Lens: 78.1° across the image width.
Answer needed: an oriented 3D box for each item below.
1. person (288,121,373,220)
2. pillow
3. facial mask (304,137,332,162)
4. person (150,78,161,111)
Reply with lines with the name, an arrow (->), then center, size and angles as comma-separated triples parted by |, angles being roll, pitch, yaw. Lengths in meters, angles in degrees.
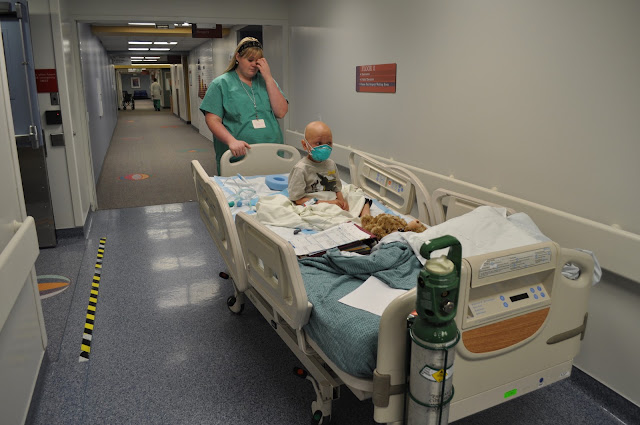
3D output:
person -> 0.054, -0.331, 3.156 | 0.576, 0.762, 0.738 | -15, 20, -41
pillow -> 0.916, 0.144, 2.333 | 0.473, 0.090, 0.406 | -25, 23, 0
facial mask -> -0.006, -0.514, 3.212 | 0.151, 0.095, 0.153 | -6, 23, -17
person -> -10.772, -7.589, 25.907 | 0.470, 1.709, 1.347 | -10, 23, -22
